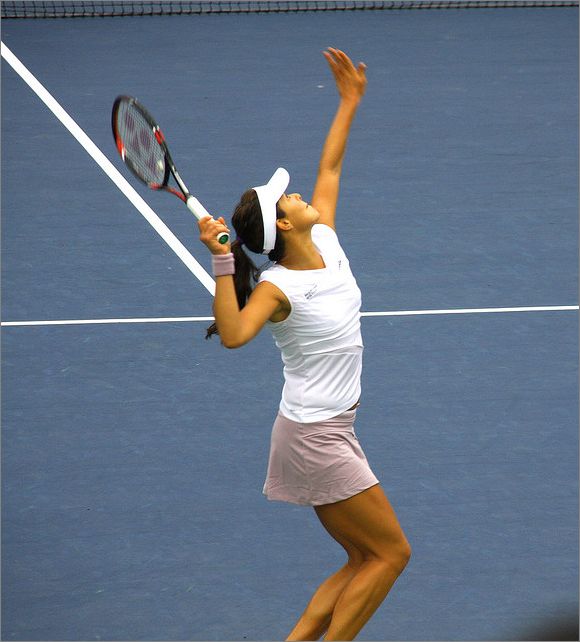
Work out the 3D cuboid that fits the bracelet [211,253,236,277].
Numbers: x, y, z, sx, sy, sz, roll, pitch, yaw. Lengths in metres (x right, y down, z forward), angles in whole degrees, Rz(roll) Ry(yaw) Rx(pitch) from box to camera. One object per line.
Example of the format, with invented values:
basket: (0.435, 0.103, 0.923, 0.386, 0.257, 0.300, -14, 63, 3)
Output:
bracelet: (-0.267, -0.218, 4.301, 0.111, 0.079, 0.111, 6, 13, 38)
